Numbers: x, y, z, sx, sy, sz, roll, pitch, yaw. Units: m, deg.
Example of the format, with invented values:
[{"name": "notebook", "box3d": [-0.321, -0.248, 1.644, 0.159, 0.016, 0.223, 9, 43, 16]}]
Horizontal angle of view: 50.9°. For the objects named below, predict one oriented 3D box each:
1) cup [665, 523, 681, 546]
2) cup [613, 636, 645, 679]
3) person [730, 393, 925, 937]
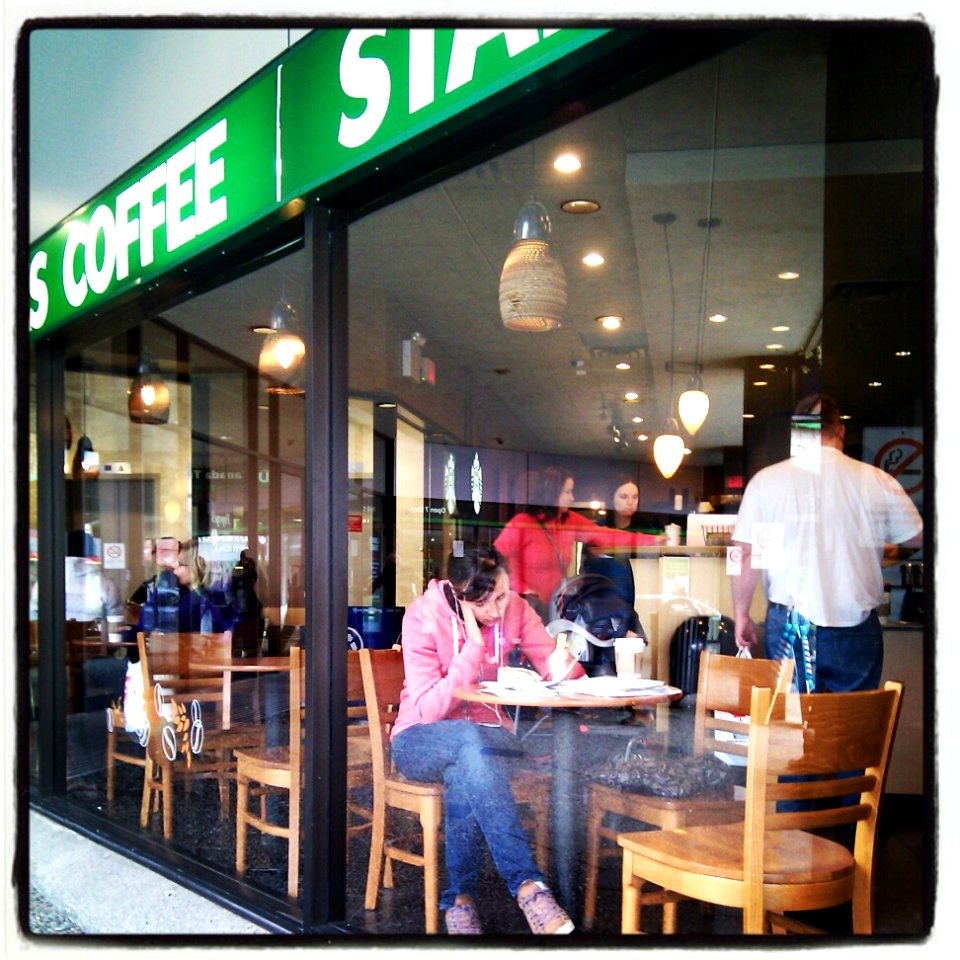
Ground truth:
[{"name": "cup", "box3d": [0.439, 0.123, 2.287, 0.036, 0.051, 0.039, 1, 1, 0]}, {"name": "cup", "box3d": [0.353, 0.411, 2.355, 0.072, 0.103, 0.078, 1, -4, 0]}, {"name": "person", "box3d": [0.833, 0.330, 2.461, 0.363, 1.169, 0.291, -1, 22, 10]}]
